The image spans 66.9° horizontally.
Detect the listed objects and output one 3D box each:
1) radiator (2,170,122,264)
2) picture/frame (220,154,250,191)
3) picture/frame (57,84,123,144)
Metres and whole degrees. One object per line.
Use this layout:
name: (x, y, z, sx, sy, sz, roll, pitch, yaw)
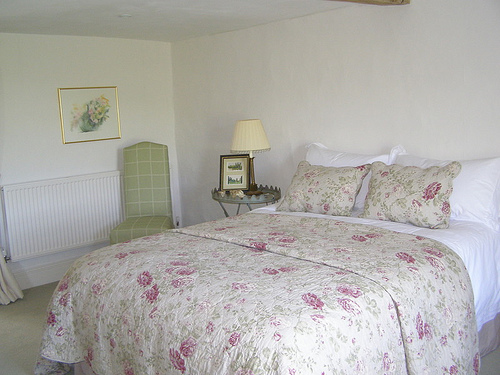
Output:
radiator: (-2.078, 0.310, 4.073, 0.995, 0.672, 0.070, -9, 11, -41)
picture/frame: (-0.158, -0.162, 4.141, 0.389, 0.460, 0.038, 0, -5, 7)
picture/frame: (-1.890, -0.863, 4.396, 0.680, 0.600, 0.047, -11, 13, -44)
